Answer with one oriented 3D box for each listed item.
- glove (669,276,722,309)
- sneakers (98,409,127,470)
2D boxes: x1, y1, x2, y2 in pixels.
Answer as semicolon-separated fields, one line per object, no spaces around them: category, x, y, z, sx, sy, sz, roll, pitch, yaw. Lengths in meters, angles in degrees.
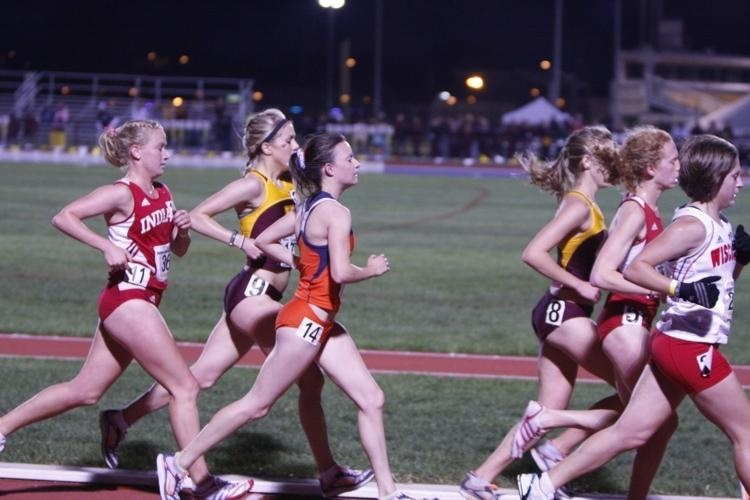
glove;2.727;0.374;8.182;0.290;0.291;0.131;4;37;15
sneakers;-2.499;1.760;9.267;0.286;0.616;0.208;-6;4;4
